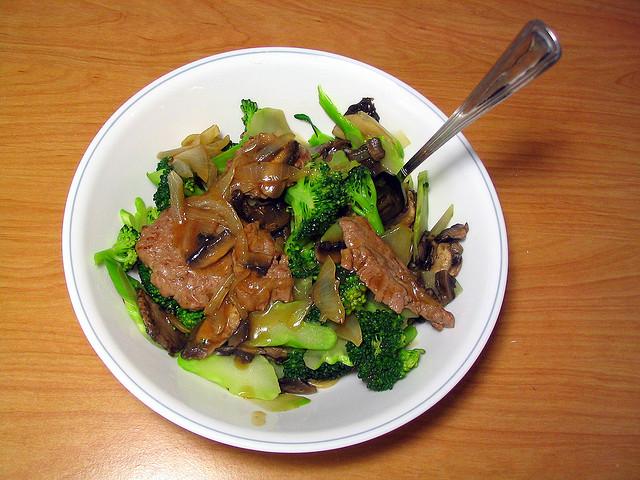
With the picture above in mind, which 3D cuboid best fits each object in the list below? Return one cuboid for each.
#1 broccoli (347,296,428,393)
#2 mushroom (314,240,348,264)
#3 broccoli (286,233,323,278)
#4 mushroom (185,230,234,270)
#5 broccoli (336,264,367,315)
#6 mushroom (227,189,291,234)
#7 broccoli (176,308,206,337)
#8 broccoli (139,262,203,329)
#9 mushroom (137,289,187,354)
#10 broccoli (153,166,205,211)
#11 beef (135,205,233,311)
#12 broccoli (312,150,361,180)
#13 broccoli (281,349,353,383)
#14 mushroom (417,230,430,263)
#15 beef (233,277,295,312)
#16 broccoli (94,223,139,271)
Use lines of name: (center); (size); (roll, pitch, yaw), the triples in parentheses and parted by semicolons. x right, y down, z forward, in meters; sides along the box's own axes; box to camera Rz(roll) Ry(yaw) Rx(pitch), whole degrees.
broccoli: (0.362, 0.626, 3.330); (0.427, 0.136, 0.516); (-38, 87, -5)
mushroom: (0.068, 0.062, 3.396); (0.169, 0.049, 0.124); (-16, 72, -10)
broccoli: (-0.107, 0.117, 3.414); (0.268, 0.251, 0.128); (-10, 30, -26)
mushroom: (-0.658, 0.068, 3.360); (0.322, 0.034, 0.130); (-35, 87, -5)
broccoli: (0.191, 0.290, 3.333); (0.164, 0.102, 0.303); (-6, 85, -2)
mushroom: (-0.356, -0.225, 3.588); (0.303, 0.239, 0.471); (-11, 24, -35)
broccoli: (-0.799, 0.498, 3.383); (0.160, 0.067, 0.172); (3, 88, 7)
broccoli: (-0.945, 0.385, 3.437); (0.401, 0.318, 0.120); (38, 66, -1)
mushroom: (-0.990, 0.495, 3.325); (0.120, 0.205, 0.455); (-42, 88, -5)
broccoli: (-0.912, -0.323, 3.502); (0.287, 0.112, 0.297); (-10, 72, 3)
beef: (-0.778, 0.082, 3.333); (0.549, 0.133, 0.543); (39, 87, 7)
broccoli: (0.106, -0.490, 3.554); (0.323, 0.187, 0.079); (-18, 46, 1)
broccoli: (-0.029, 0.801, 3.399); (0.342, 0.235, 0.100); (-7, 41, 4)
mushroom: (0.681, 0.028, 3.564); (0.095, 0.037, 0.150); (2, 76, 33)
beef: (-0.338, 0.328, 3.350); (0.354, 0.109, 0.201); (-5, 85, -3)
broccoli: (-1.270, 0.064, 3.437); (0.337, 0.192, 0.249); (-4, 43, 2)
